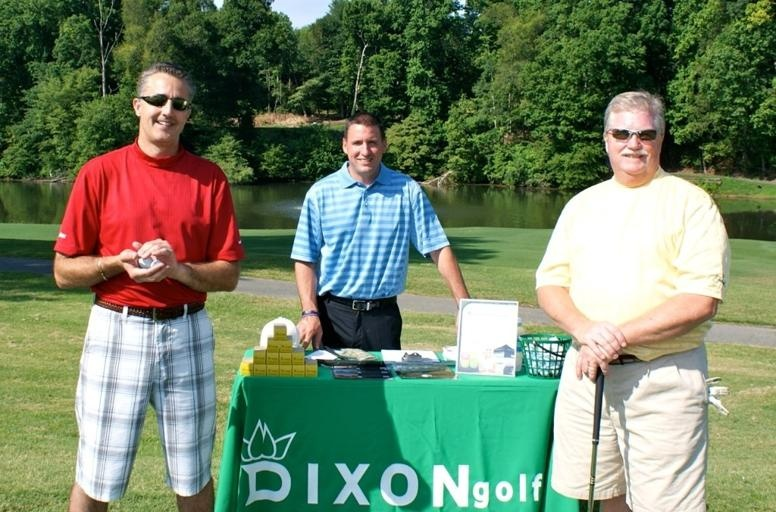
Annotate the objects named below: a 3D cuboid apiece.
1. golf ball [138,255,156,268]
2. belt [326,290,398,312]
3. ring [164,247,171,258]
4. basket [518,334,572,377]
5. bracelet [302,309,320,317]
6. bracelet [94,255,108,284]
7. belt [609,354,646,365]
[{"bbox_3d":[-1.929,0.080,7.358,0.122,0.087,0.118,-6,15,2],"label":"golf ball"},{"bbox_3d":[-0.242,0.502,8.765,0.564,0.140,0.111,1,3,-4],"label":"belt"},{"bbox_3d":[-1.770,-0.006,7.333,0.017,0.055,0.042,-5,-4,24],"label":"ring"},{"bbox_3d":[1.379,0.895,8.053,0.394,0.280,0.412,3,0,41],"label":"basket"},{"bbox_3d":[-0.730,0.574,8.601,0.151,0.058,0.183,1,3,-6],"label":"bracelet"},{"bbox_3d":[-2.318,0.143,7.417,0.044,0.161,0.120,-11,19,-25],"label":"bracelet"},{"bbox_3d":[1.934,0.886,7.414,0.231,0.101,0.040,2,3,11],"label":"belt"}]
